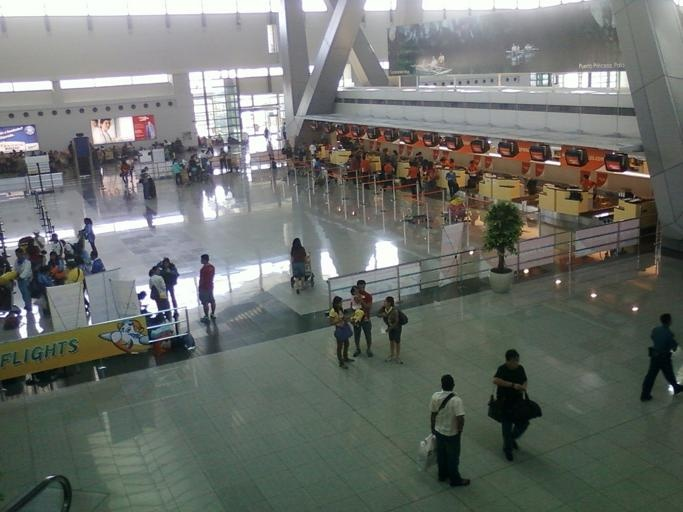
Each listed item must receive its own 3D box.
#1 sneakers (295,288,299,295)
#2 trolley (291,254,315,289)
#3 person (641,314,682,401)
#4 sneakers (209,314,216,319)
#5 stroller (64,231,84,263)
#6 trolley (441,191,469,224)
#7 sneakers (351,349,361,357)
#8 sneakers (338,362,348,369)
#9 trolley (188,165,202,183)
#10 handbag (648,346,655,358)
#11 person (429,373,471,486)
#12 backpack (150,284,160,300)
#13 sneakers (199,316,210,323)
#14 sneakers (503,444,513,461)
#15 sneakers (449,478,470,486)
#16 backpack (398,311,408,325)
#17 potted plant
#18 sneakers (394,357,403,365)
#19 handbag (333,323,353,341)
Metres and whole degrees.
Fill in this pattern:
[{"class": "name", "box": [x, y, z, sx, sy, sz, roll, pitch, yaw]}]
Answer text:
[{"class": "sneakers", "box": [-1.166, 0.935, 14.316, 0.077, 0.189, 0.192, -6, 10, -7]}, {"class": "trolley", "box": [-1.016, 0.461, 14.549, 0.446, 0.782, 0.682, 8, 20, 44]}, {"class": "person", "box": [5.428, 1.551, 9.176, 0.577, 1.482, 1.259, 3, 17, 33]}, {"class": "sneakers", "box": [-3.108, 1.446, 13.137, 0.131, 0.126, 0.263, -10, 15, -15]}, {"class": "stroller", "box": [-8.083, -0.249, 16.478, 0.817, 1.020, 0.440, 2, 4, -28]}, {"class": "trolley", "box": [4.111, -1.738, 19.941, 0.583, 1.044, 0.669, -8, 17, 46]}, {"class": "sneakers", "box": [0.306, 1.988, 11.085, 0.192, 0.126, 0.071, -2, 11, -14]}, {"class": "sneakers", "box": [0.054, 2.139, 10.659, 0.163, 0.105, 0.131, -12, 15, -20]}, {"class": "trolley", "box": [-8.107, -4.580, 30.075, 0.768, 0.566, 1.767, -7, -25, -17]}, {"class": "handbag", "box": [4.970, 1.544, 8.748, 0.068, 0.140, 0.089, 2, 17, 30]}, {"class": "person", "box": [1.471, 2.397, 7.460, 0.460, 1.572, 0.398, -4, 15, 11]}, {"class": "backpack", "box": [-4.203, 0.857, 12.467, 0.222, 0.284, 0.300, -2, 15, -13]}, {"class": "sneakers", "box": [-3.281, 1.510, 13.056, 0.322, 0.135, 0.197, 5, 18, 37]}, {"class": "sneakers", "box": [2.436, 2.898, 7.963, 0.078, 0.158, 0.226, -5, 5, -3]}, {"class": "sneakers", "box": [1.624, 3.130, 7.485, 0.274, 0.112, 0.108, -6, 26, -1]}, {"class": "backpack", "box": [1.202, 1.214, 10.635, 0.127, 0.356, 0.324, -4, 15, 10]}, {"class": "potted plant", "box": [3.911, -0.189, 13.240, 0.857, 2.181, 0.478, -3, 15, 15]}, {"class": "sneakers", "box": [1.127, 2.054, 10.673, 0.071, 0.081, 0.209, -5, 4, -15]}, {"class": "handbag", "box": [0.028, 1.473, 10.605, 0.342, 0.369, 0.198, -10, 15, -14]}]
